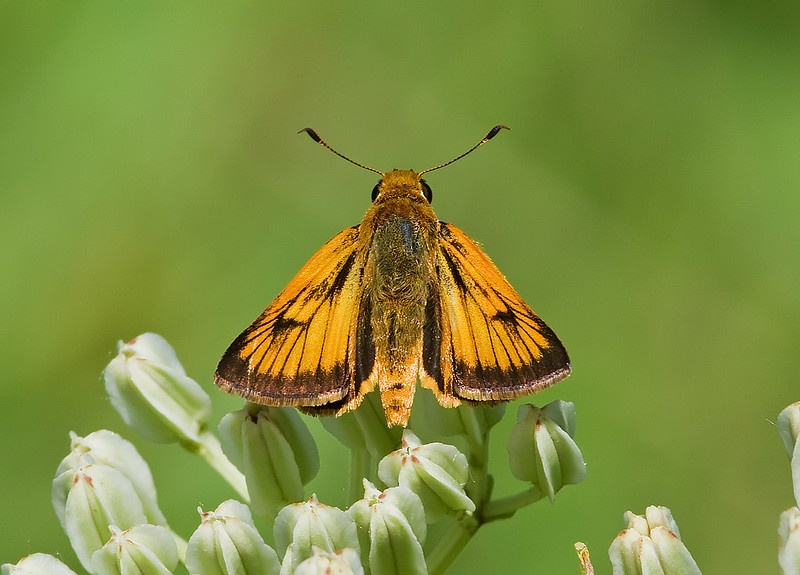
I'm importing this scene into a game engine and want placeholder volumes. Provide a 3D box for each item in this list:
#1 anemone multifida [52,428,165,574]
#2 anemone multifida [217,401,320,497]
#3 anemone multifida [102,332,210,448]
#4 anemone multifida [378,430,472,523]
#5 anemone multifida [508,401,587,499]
[{"bbox_3d":[-1.075,0.845,3.791,0.335,0.597,0.148,-28,-4,-16],"label":"anemone multifida"},{"bbox_3d":[-0.488,0.555,3.850,0.219,0.206,0.429,-5,-77,-14],"label":"anemone multifida"},{"bbox_3d":[-0.977,0.414,4.142,0.451,0.343,0.270,19,-48,-19],"label":"anemone multifida"},{"bbox_3d":[0.100,0.714,3.675,0.304,0.457,0.166,-10,-52,-15],"label":"anemone multifida"},{"bbox_3d":[0.552,0.628,3.855,0.279,0.285,0.278,-9,-46,7],"label":"anemone multifida"}]
